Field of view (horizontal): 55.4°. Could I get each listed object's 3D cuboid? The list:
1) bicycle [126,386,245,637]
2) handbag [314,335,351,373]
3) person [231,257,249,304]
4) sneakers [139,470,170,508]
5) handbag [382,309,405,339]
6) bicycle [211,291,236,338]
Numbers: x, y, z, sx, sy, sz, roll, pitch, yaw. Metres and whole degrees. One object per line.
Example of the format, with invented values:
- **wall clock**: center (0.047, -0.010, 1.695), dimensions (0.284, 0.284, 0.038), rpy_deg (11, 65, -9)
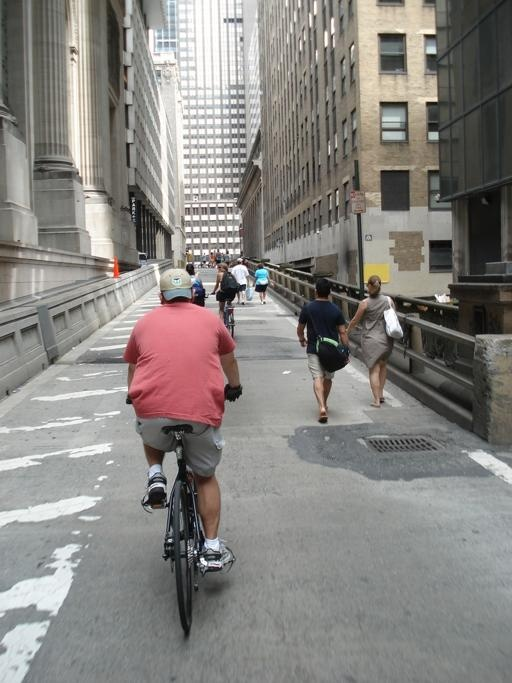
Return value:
- **bicycle**: center (-0.359, 0.851, 2.444), dimensions (0.390, 0.858, 1.172), rpy_deg (-4, -5, -6)
- **handbag**: center (1.095, 0.220, 6.918), dimensions (0.423, 0.609, 0.373), rpy_deg (-4, 11, -3)
- **person**: center (-0.727, -2.870, 23.609), dimensions (0.623, 2.434, 0.669), rpy_deg (-2, -17, 3)
- **sneakers**: center (-0.474, 0.702, 2.275), dimensions (0.066, 0.123, 0.220), rpy_deg (1, -8, -6)
- **handbag**: center (2.244, -0.271, 7.967), dimensions (0.125, 0.419, 0.291), rpy_deg (-11, -31, 1)
- **bicycle**: center (-0.980, -0.820, 15.569), dimensions (0.750, 1.276, 1.774), rpy_deg (-15, -2, 17)
